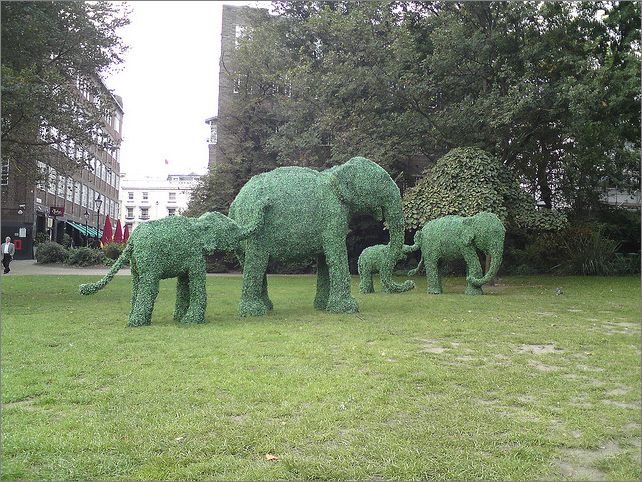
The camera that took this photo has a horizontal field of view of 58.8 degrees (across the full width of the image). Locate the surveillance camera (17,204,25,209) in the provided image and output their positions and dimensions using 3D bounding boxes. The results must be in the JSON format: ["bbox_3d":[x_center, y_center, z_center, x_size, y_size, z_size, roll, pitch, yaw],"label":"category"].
[{"bbox_3d":[-18.857,-2.180,35.835,0.293,0.292,0.068,4,-4,-3],"label":"surveillance camera"}]

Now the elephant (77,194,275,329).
[{"bbox_3d":[-2.761,0.521,11.716,2.849,2.225,0.973,-10,17,-38],"label":"elephant"}]
